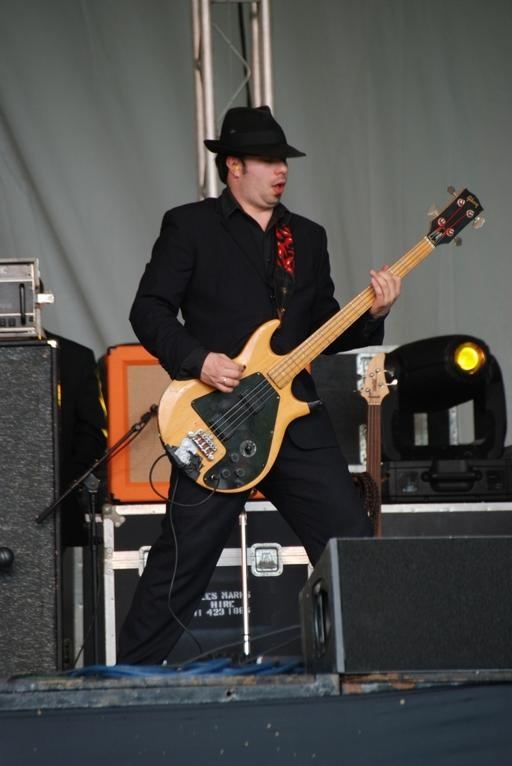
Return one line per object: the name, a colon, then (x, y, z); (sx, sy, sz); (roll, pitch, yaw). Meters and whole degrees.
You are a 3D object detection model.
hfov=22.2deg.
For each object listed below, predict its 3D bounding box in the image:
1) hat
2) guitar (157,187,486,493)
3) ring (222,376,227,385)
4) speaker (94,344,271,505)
hat: (0.000, -0.624, 3.170); (0.284, 0.108, 0.232); (16, 26, 41)
guitar: (0.225, -0.141, 3.100); (1.112, 0.321, 0.129); (-39, 11, -11)
ring: (-0.070, -0.005, 2.904); (0.014, 0.017, 0.004); (3, 8, -1)
speaker: (-0.175, 0.114, 3.237); (0.490, 0.484, 0.183); (-2, -13, -5)
